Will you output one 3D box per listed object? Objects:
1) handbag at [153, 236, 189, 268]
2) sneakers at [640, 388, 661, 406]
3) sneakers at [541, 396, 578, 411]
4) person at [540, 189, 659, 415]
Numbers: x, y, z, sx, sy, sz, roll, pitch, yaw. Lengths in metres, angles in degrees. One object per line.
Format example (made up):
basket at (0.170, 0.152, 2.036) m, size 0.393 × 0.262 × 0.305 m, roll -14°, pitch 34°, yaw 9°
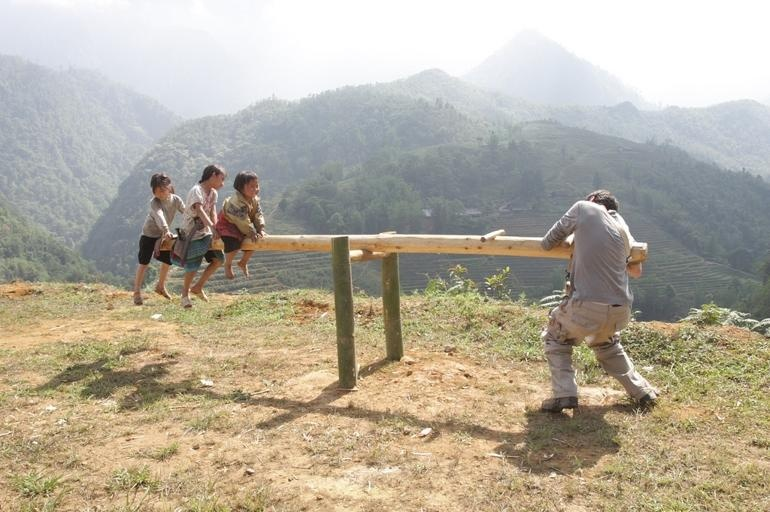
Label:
handbag at (-3.449, -0.095, 9.019) m, size 0.634 × 0.491 × 0.319 m, roll 4°, pitch 7°, yaw 21°
sneakers at (3.287, 1.757, 6.915) m, size 0.224 × 0.197 × 0.196 m, roll -12°, pitch 0°, yaw 22°
sneakers at (2.112, 1.796, 6.829) m, size 0.455 × 0.183 × 0.179 m, roll -3°, pitch 1°, yaw 39°
person at (2.570, 0.565, 6.814) m, size 1.240 × 2.712 × 0.637 m, roll 0°, pitch 7°, yaw -8°
